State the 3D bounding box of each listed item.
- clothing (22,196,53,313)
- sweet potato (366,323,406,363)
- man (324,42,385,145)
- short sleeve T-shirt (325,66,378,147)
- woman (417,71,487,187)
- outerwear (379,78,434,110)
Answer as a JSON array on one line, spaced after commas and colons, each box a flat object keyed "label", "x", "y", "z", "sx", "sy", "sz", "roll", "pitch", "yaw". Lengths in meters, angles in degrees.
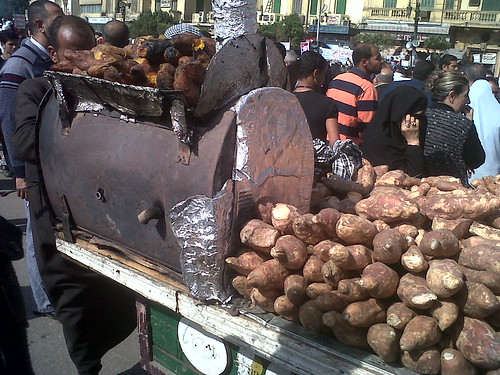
[{"label": "clothing", "x": -1.919, "y": 0.629, "z": 3.459, "sx": 0.233, "sy": 1.233, "sz": 0.221, "roll": 9, "pitch": 23, "yaw": 0}, {"label": "sweet potato", "x": 0.593, "y": 0.677, "z": 1.735, "sx": 0.092, "sy": 0.117, "sz": 0.130, "roll": 12, "pitch": -12, "yaw": 37}, {"label": "man", "x": 1.324, "y": -0.907, "z": 4.528, "sx": 0.539, "sy": 1.373, "sz": 0.700, "roll": -5, "pitch": 1, "yaw": 14}, {"label": "short sleeve T-shirt", "x": 1.133, "y": -0.976, "z": 4.539, "sx": 0.398, "sy": 0.890, "sz": 0.824, "roll": -26, "pitch": 38, "yaw": -29}, {"label": "woman", "x": 1.640, "y": -0.508, "z": 3.161, "sx": 0.343, "sy": 1.042, "sz": 0.326, "roll": -2, "pitch": 25, "yaw": -25}, {"label": "outerwear", "x": 1.848, "y": -1.220, "z": 4.604, "sx": 0.602, "sy": 0.280, "sz": 0.349, "roll": -11, "pitch": 23, "yaw": -20}]
